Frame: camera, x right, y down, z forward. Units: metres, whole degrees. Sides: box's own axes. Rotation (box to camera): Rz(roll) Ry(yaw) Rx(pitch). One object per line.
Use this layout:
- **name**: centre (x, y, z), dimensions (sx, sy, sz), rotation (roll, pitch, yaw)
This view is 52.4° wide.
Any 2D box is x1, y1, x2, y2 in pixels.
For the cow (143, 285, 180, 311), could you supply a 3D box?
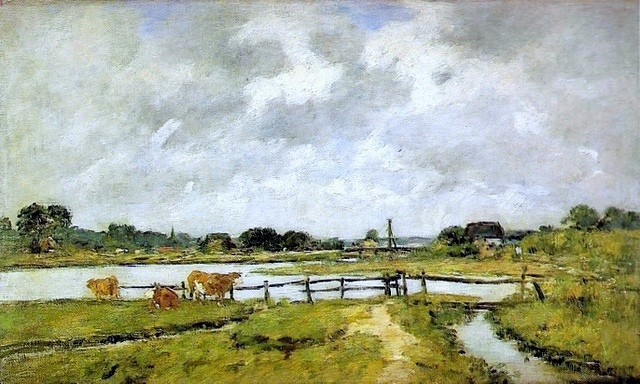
- **cow**: centre (-6.329, 4.443, 26.628), dimensions (1.174, 0.559, 0.925), rotation (-21, 2, 39)

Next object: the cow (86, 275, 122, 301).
- **cow**: centre (-8.936, 3.992, 26.774), dimensions (1.365, 0.988, 0.533), rotation (-5, -10, 14)

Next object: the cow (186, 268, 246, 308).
- **cow**: centre (-4.400, 3.985, 27.265), dimensions (2.355, 1.523, 0.751), rotation (1, 4, 7)

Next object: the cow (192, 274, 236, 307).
- **cow**: centre (-4.441, 4.058, 27.252), dimensions (2.213, 1.561, 0.611), rotation (0, 1, 13)
